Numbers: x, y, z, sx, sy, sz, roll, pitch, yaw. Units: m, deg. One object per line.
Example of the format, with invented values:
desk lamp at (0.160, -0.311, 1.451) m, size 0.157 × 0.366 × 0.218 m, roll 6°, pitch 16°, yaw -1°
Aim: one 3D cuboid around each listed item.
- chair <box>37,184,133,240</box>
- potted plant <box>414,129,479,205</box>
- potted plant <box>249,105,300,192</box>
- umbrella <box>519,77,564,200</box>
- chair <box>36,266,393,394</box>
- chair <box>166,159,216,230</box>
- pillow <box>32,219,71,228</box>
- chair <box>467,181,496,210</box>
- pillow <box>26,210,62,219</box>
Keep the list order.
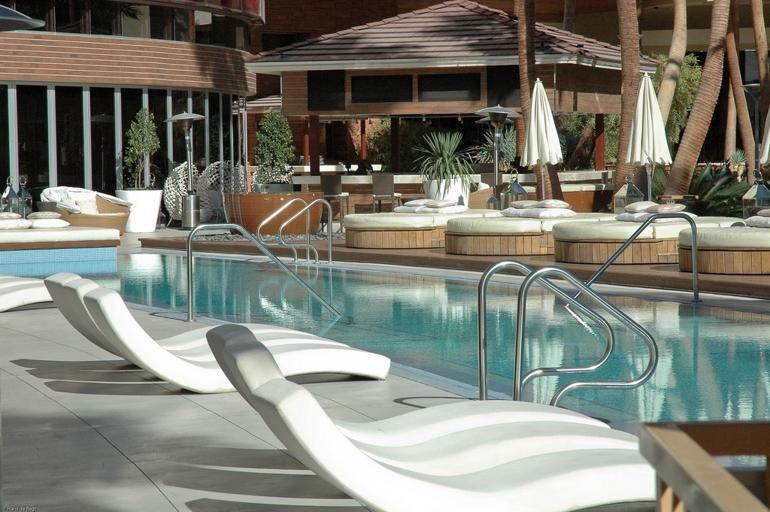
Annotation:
chair at (-6.745, -1.056, 15.251) m, size 1.617 × 0.991 × 1.779 m, roll -1°, pitch 6°, yaw -5°
potted plant at (1.433, -2.121, 16.414) m, size 1.157 × 1.648 × 1.521 m, roll 0°, pitch 6°, yaw 4°
potted plant at (-3.540, -3.524, 21.481) m, size 1.131 × 2.253 × 2.255 m, roll -2°, pitch 6°, yaw -9°
umbrella at (3.049, -2.340, 13.375) m, size 0.733 × 2.425 × 1.996 m, roll 1°, pitch 6°, yaw 13°
chair at (-1.110, 0.578, 4.604) m, size 2.020 × 0.598 × 1.015 m, roll -2°, pitch 6°, yaw -25°
chair at (-5.432, -1.748, 18.829) m, size 1.241 × 1.668 × 1.334 m, roll -5°, pitch 7°, yaw -34°
pillow at (-5.266, -0.523, 10.729) m, size 0.311 × 0.151 × 0.613 m, roll 2°, pitch 6°, yaw 20°
chair at (2.424, -1.523, 17.486) m, size 0.775 × 0.767 × 0.946 m, roll 2°, pitch 3°, yaw 6°
pillow at (-5.536, -0.652, 10.987) m, size 0.400 × 0.096 × 0.627 m, roll -4°, pitch 7°, yaw -32°
